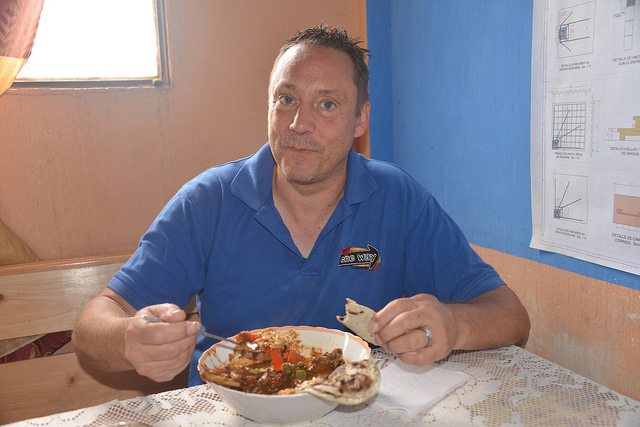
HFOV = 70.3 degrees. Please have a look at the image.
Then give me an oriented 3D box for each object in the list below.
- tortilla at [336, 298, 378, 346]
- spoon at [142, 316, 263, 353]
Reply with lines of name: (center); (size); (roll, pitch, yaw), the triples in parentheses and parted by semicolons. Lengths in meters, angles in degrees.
tortilla: (0.147, 0.399, 1.693); (0.199, 0.111, 0.028); (39, 7, -4)
spoon: (-0.438, 0.463, 1.747); (0.519, 0.109, 0.073); (20, 29, -25)
